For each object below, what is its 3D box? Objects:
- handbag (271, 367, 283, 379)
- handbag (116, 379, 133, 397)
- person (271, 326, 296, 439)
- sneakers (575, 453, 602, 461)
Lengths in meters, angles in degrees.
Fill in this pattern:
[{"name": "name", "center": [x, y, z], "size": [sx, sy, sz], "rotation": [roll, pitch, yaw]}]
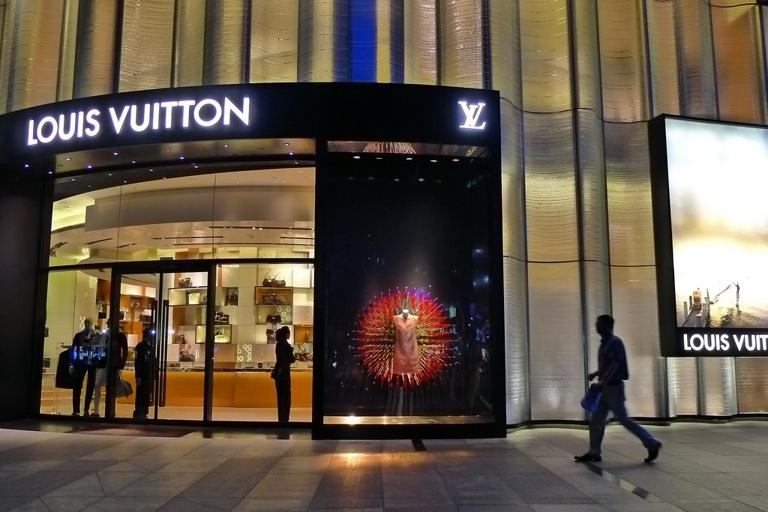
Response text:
[{"name": "handbag", "center": [-2.229, 2.399, 14.489], "size": [0.204, 0.248, 0.245], "rotation": [14, 5, 26]}, {"name": "handbag", "center": [-5.428, 2.728, 14.486], "size": [0.421, 0.380, 0.229], "rotation": [-1, 2, 7]}, {"name": "person", "center": [-2.123, 2.490, 14.403], "size": [0.462, 2.080, 0.381], "rotation": [-3, -7, 11]}, {"name": "sneakers", "center": [3.501, 3.467, 11.984], "size": [0.477, 0.171, 0.159], "rotation": [3, -15, 3]}]
